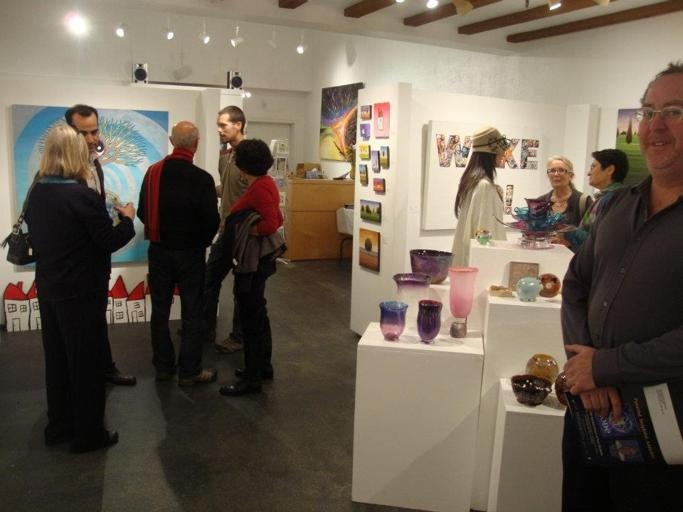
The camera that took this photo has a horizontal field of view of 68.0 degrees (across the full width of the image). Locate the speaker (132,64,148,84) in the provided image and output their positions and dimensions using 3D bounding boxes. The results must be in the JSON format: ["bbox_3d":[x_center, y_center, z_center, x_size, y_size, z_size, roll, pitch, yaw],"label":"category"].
[{"bbox_3d":[-2.808,-2.548,7.082,0.173,0.283,0.296,-2,13,-23],"label":"speaker"}]

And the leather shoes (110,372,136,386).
[{"bbox_3d":[-1.696,0.963,3.965,0.243,0.100,0.080,1,4,-7],"label":"leather shoes"}]

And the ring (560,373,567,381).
[{"bbox_3d":[0.835,0.456,1.913,0.020,0.024,0.090,1,-8,11],"label":"ring"}]

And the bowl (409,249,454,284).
[{"bbox_3d":[0.574,0.069,3.164,0.286,0.210,0.284,1,10,0],"label":"bowl"}]

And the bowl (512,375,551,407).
[{"bbox_3d":[0.917,0.643,2.450,0.153,0.100,0.152,3,-3,0],"label":"bowl"}]

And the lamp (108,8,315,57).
[{"bbox_3d":[-2.459,-4.425,10.105,4.135,0.748,0.913,-7,15,-38],"label":"lamp"}]

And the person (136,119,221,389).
[{"bbox_3d":[-1.213,-0.001,3.882,0.499,1.993,0.383,-4,14,-28],"label":"person"}]

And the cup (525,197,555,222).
[{"bbox_3d":[1.128,-0.268,2.884,0.149,0.102,0.147,0,1,0],"label":"cup"}]

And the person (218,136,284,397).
[{"bbox_3d":[-0.642,0.122,3.655,0.449,1.882,0.400,-2,13,-20],"label":"person"}]

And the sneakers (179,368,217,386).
[{"bbox_3d":[-1.138,0.931,4.004,0.223,0.097,0.114,-9,15,-32],"label":"sneakers"}]

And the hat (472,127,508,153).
[{"bbox_3d":[1.396,-1.087,4.762,0.332,0.199,0.229,-4,13,-10],"label":"hat"}]

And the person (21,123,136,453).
[{"bbox_3d":[-1.522,0.219,3.009,0.526,1.927,0.350,-5,14,-31],"label":"person"}]

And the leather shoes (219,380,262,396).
[{"bbox_3d":[-0.751,0.993,3.855,0.329,0.125,0.119,4,-2,-16],"label":"leather shoes"}]

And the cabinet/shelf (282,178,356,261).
[{"bbox_3d":[-0.421,-0.625,8.699,1.443,1.278,0.743,-2,5,-32],"label":"cabinet/shelf"}]
